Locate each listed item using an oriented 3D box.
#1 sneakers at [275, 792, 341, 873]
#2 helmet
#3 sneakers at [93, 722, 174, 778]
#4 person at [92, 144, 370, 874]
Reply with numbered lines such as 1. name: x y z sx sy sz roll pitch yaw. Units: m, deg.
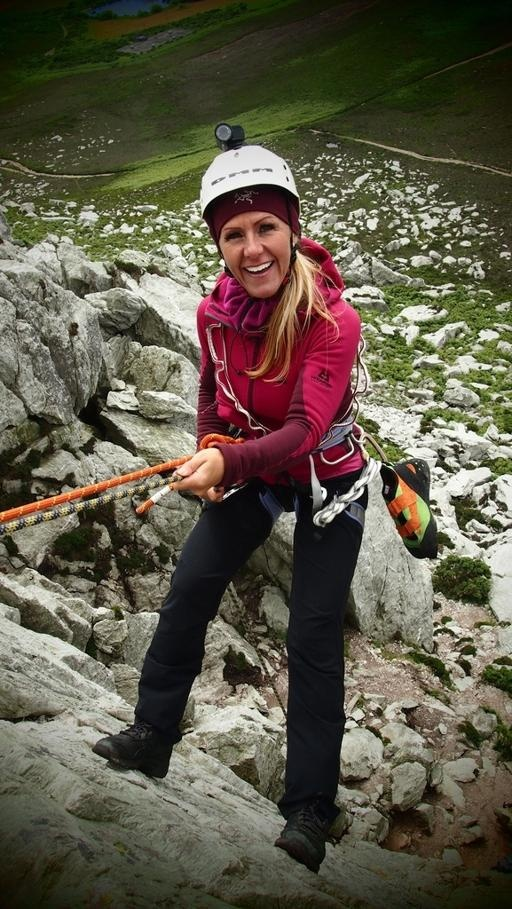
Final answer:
1. sneakers: 0.203 1.514 2.846 0.248 0.268 0.186 6 9 -3
2. helmet: -0.045 -1.108 2.889 0.252 0.274 0.339 -7 29 8
3. sneakers: -0.496 1.219 3.029 0.152 0.221 0.394 -3 -28 39
4. person: 0.011 0.256 3.135 0.985 3.089 1.012 8 9 10
